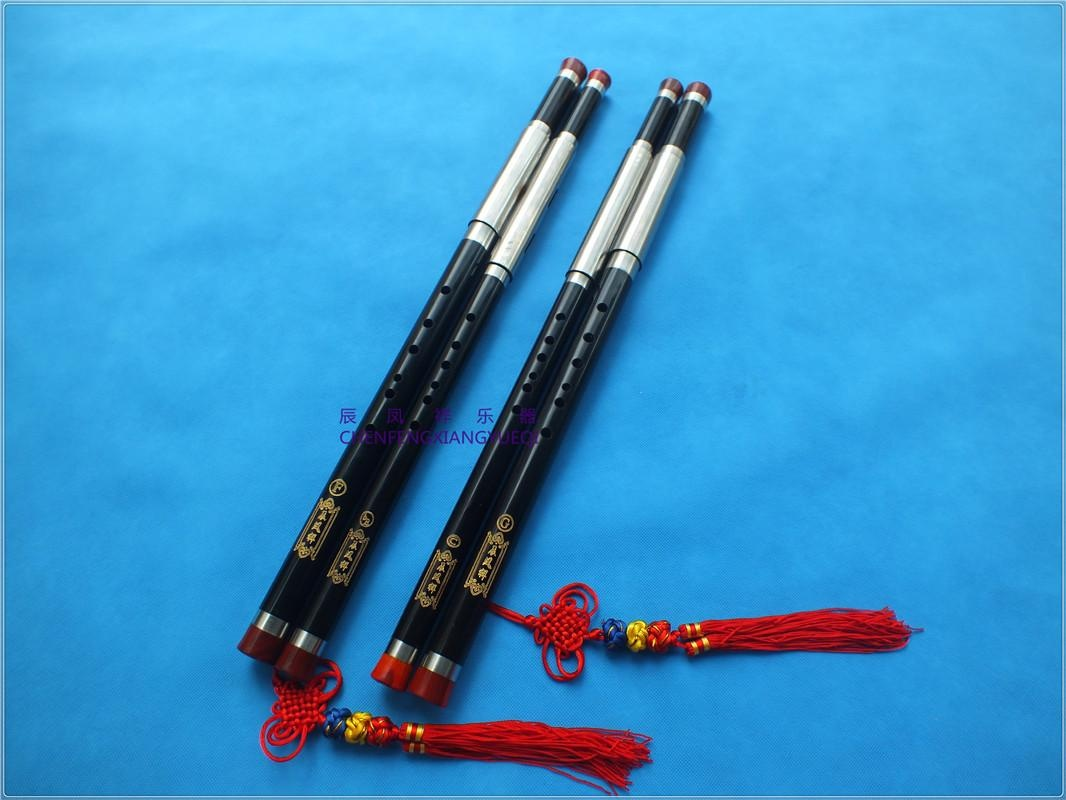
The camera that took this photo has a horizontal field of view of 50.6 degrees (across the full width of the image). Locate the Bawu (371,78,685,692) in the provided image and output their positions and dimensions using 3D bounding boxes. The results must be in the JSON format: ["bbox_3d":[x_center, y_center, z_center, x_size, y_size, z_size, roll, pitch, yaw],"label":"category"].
[{"bbox_3d":[-0.007,0.030,2.991,0.203,0.130,1.718,22,-99,0],"label":"Bawu"}]

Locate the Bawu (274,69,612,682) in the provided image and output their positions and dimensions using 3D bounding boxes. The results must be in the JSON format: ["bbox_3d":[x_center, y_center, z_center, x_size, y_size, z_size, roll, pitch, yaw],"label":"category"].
[{"bbox_3d":[-0.069,-0.173,2.911,0.159,2.081,0.150,21,-33,-15],"label":"Bawu"}]

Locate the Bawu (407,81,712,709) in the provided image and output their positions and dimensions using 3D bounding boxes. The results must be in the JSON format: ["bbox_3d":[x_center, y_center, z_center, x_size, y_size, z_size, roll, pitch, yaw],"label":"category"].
[{"bbox_3d":[0.076,0.058,2.993,0.220,0.139,1.762,23,-96,-6],"label":"Bawu"}]
